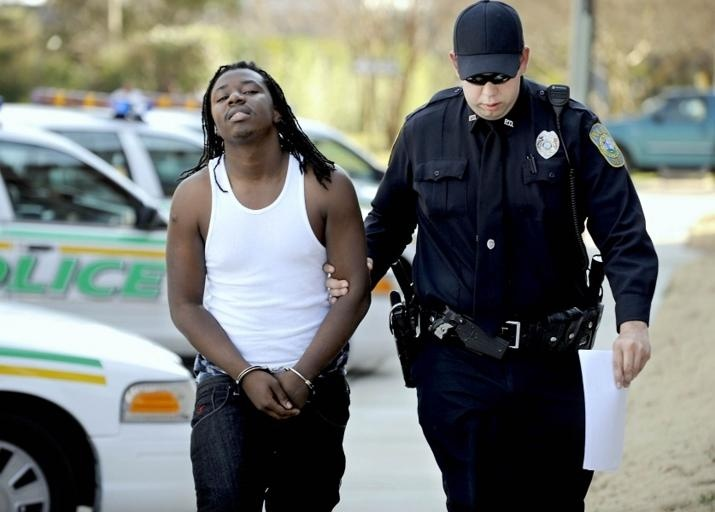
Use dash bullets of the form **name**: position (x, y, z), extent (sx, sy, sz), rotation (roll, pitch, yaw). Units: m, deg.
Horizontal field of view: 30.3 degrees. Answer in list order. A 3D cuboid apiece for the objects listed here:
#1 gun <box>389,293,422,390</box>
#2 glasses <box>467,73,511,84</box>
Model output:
- **gun**: position (0.220, 0.437, 6.659), extent (0.124, 0.454, 0.166), rotation (-8, -5, -31)
- **glasses**: position (0.636, -0.850, 6.396), extent (0.211, 0.049, 0.050), rotation (1, -3, 6)
